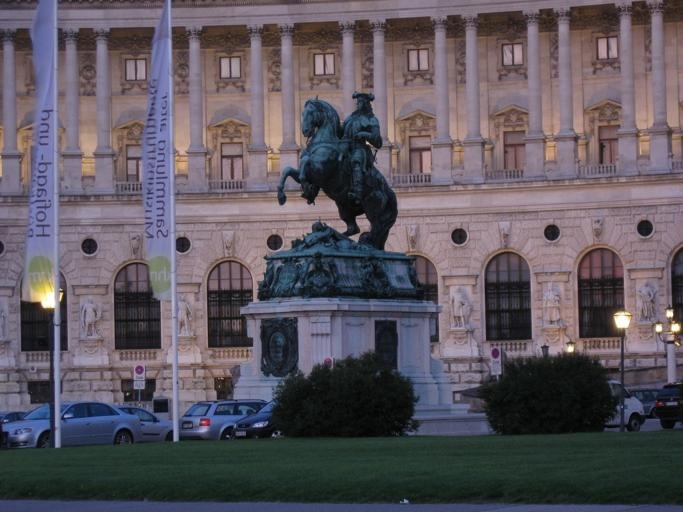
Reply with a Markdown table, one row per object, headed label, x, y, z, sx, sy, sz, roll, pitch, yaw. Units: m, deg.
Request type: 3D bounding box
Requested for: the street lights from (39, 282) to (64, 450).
| label | x | y | z | sx | sy | sz | roll | pitch | yaw |
| --- | --- | --- | --- | --- | --- | --- | --- | --- | --- |
| street lights | -11.372 | 4.388 | 81.974 | 0.659 | 5.873 | 0.499 | -5 | -4 | -20 |
